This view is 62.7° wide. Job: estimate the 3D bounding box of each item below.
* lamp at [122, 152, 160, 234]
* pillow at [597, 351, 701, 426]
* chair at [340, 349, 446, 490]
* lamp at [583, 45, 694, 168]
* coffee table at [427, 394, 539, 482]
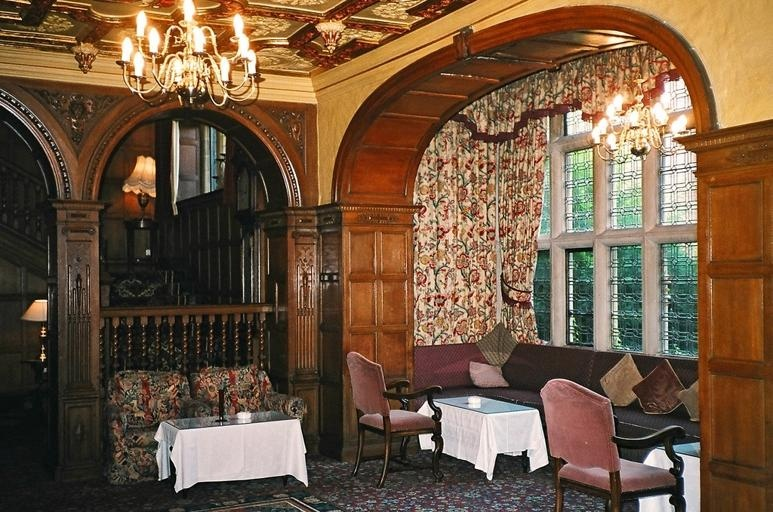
[{"bbox_3d":[-5.353,-1.389,13.868,0.648,1.645,0.962,-2,8,-20],"label":"lamp"},{"bbox_3d":[3.049,1.494,7.276,0.218,0.581,1.615,10,-13,-19],"label":"pillow"},{"bbox_3d":[0.126,1.839,7.379,1.028,1.387,1.023,-4,-5,40],"label":"chair"},{"bbox_3d":[2.728,-1.499,6.845,0.880,0.802,0.877,0,2,-11],"label":"lamp"},{"bbox_3d":[1.216,1.958,7.298,0.869,0.544,1.163,-1,1,-30],"label":"coffee table"}]
